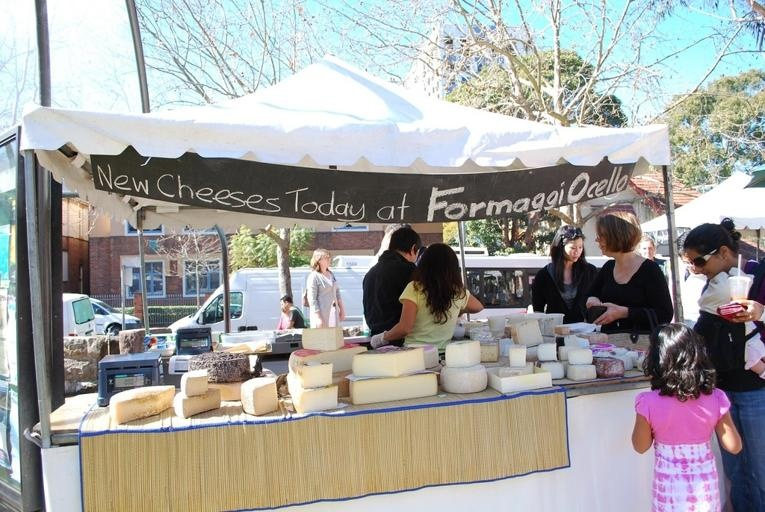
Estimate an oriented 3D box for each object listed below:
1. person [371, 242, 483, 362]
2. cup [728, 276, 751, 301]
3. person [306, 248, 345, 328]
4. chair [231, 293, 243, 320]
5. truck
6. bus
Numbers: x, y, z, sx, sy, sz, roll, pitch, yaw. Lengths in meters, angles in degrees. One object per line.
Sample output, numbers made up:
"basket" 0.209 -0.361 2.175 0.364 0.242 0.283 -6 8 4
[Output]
"person" 0.386 0.369 5.832 0.673 0.947 0.319 3 7 3
"cup" 2.675 0.254 5.200 0.162 0.173 0.173 2 -6 0
"person" -0.820 0.493 9.720 0.531 1.169 0.838 2 7 -6
"chair" -2.680 0.901 12.477 0.229 0.450 0.248 1 7 -12
"truck" -2.070 0.622 12.599 3.417 1.734 1.485 0 -12 -5
"bus" 2.954 0.649 13.251 3.308 1.708 1.244 -2 1 -3
